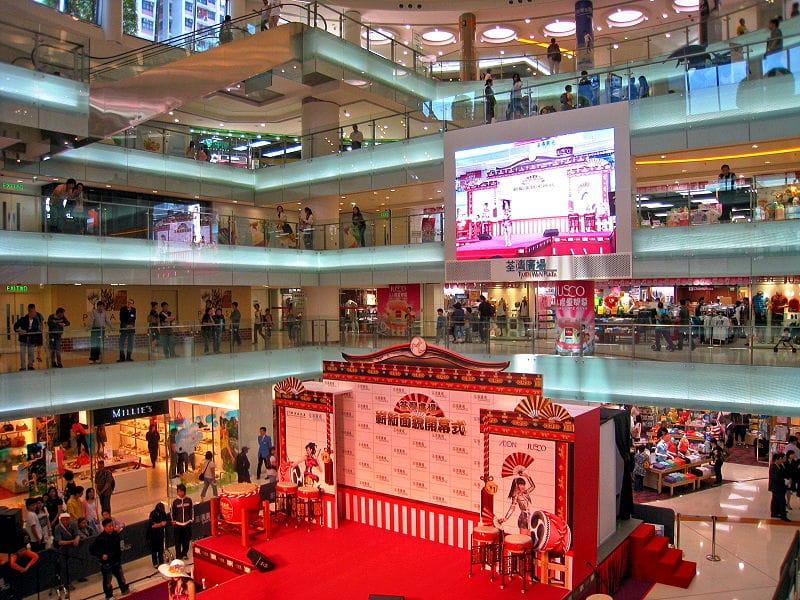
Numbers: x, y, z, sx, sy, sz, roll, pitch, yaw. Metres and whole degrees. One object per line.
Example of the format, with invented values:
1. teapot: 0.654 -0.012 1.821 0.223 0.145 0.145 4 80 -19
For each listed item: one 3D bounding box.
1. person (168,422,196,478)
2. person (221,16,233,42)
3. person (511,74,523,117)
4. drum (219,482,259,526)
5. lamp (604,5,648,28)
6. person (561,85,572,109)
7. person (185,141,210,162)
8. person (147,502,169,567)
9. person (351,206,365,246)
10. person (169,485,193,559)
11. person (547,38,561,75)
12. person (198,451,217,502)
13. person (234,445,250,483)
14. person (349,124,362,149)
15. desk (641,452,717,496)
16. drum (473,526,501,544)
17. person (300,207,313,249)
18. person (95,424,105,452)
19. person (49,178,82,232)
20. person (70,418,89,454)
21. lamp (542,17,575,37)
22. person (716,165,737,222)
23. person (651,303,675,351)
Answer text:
1. person: -6.905 4.705 22.344 0.516 1.608 1.368 0 4 7
2. person: -5.365 -8.294 21.829 0.438 0.745 0.302 -4 5 -40
3. person: 3.747 -6.494 22.544 0.393 1.477 0.873 0 4 10
4. drum: -3.827 4.834 16.982 0.880 0.777 0.889 1 -4 42
5. lamp: 9.949 -12.501 31.169 2.057 0.346 1.466 -3 4 -31
6. person: 5.060 -6.162 21.354 0.323 0.755 0.270 0 4 13
7. person: -7.807 -5.782 27.434 0.188 0.737 0.955 2 5 39
8. person: -6.260 6.071 18.267 0.509 1.883 1.046 -2 4 -19
9. person: -1.523 -2.750 26.314 0.481 1.553 0.567 -2 4 -20
10. person: -5.737 5.844 18.667 0.605 2.037 0.519 -5 6 -43
11. person: 5.468 -8.650 24.949 0.489 1.439 0.792 0 4 13
12. person: -6.021 5.448 22.160 0.512 1.437 2.091 -2 4 -17
13. person: -4.846 5.045 21.818 0.364 1.243 1.031 -2 4 -15
14. person: -1.641 -6.155 26.584 0.491 0.970 0.221 3 6 44
15. desk: 8.710 5.379 22.115 2.439 1.072 1.007 -3 4 -23
16. drum: 1.859 5.030 15.174 0.584 0.249 0.305 0 4 7
17. person: -3.585 -2.795 27.600 0.441 1.637 0.714 -1 4 -8
18. person: -9.496 4.366 22.542 0.247 0.819 0.718 -1 4 -8
19. person: -9.826 -2.767 20.786 1.036 1.590 0.567 -4 5 -37
20. person: -9.804 4.277 21.582 0.422 0.909 0.344 -3 5 -31
21. lamp: 7.346 -12.547 32.606 1.371 0.319 1.891 0 4 10
22. person: 9.185 -2.912 19.816 0.441 1.451 0.394 2 5 33
23. person: 7.720 0.824 20.710 0.540 1.127 1.938 0 4 19
